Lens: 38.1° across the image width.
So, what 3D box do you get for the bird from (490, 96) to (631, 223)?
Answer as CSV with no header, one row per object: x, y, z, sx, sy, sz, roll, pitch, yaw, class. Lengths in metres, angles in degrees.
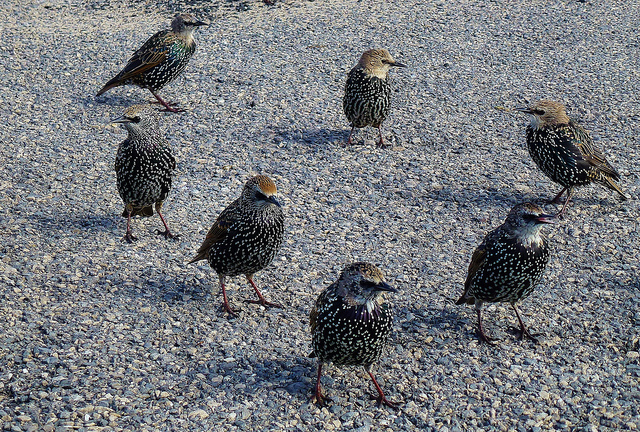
3.263,-0.759,11.580,1.123,1.111,1.198,-15,49,-9,bird
